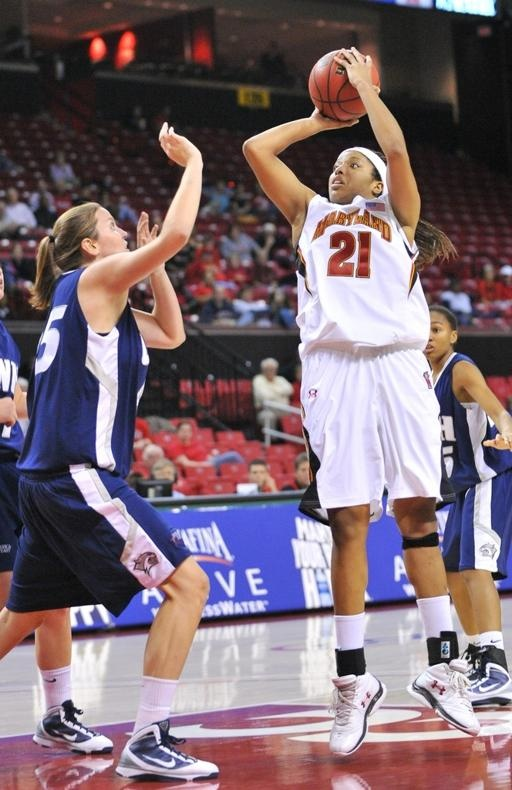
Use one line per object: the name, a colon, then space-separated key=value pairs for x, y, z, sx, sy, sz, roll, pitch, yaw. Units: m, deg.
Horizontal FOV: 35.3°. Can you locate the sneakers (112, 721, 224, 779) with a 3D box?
sneakers: x=-0.265 y=1.039 z=2.367 sx=0.383 sy=0.199 sz=0.123 roll=1 pitch=-14 yaw=0

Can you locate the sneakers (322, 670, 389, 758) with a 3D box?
sneakers: x=0.304 y=0.959 z=2.514 sx=0.106 sy=0.144 sz=0.308 roll=-24 pitch=26 yaw=46

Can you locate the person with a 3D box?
person: x=0.018 y=-0.023 z=2.680 sx=1.485 sy=1.950 sz=0.739 roll=-4 pitch=1 yaw=-22
